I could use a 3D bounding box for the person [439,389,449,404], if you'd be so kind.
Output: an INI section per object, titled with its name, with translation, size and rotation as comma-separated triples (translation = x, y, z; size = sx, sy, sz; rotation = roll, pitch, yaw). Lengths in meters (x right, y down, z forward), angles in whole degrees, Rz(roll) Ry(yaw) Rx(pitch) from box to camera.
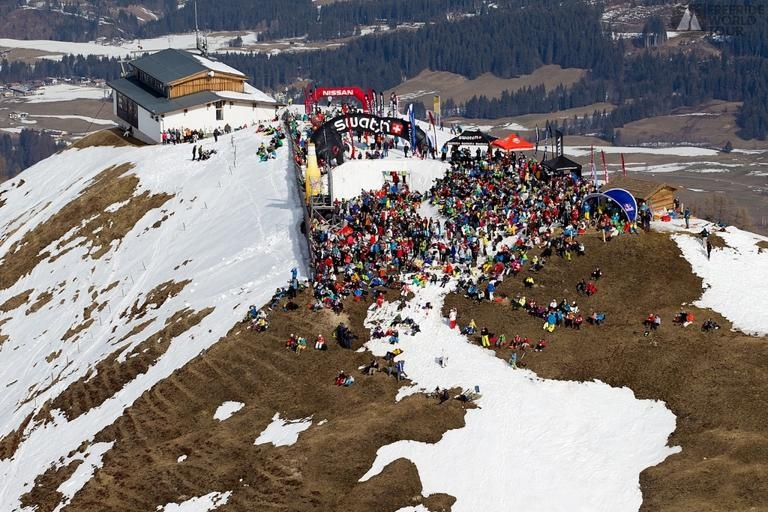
[person]
translation = 6.833, 15.779, 122.954
size = 1.125, 1.163, 0.958
rotation = -11, 23, -7
